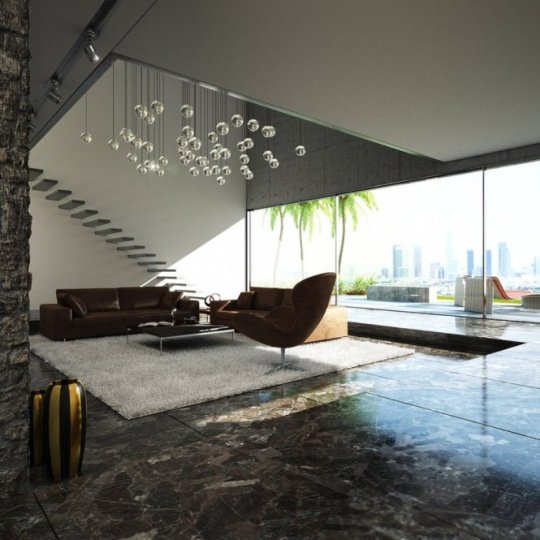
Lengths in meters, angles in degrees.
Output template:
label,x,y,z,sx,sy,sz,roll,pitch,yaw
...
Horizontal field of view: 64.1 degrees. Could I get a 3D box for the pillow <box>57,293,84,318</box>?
label,x,y,z,sx,sy,sz,roll,pitch,yaw
pillow,-2.933,0.503,6.363,0.352,0.313,0.616,-2,3,-27

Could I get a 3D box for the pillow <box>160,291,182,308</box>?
label,x,y,z,sx,sy,sz,roll,pitch,yaw
pillow,-1.697,0.496,7.363,0.319,0.274,0.073,6,-20,35

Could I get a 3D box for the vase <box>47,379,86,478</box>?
label,x,y,z,sx,sy,sz,roll,pitch,yaw
vase,-1.052,0.828,2.203,0.190,0.475,0.140,-2,3,-20

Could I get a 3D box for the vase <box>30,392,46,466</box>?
label,x,y,z,sx,sy,sz,roll,pitch,yaw
vase,-1.235,0.855,2.271,0.080,0.423,0.219,-2,3,-28

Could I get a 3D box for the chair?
label,x,y,z,sx,sy,sz,roll,pitch,yaw
chair,0.129,0.594,4.601,1.070,0.926,0.817,0,-4,28
